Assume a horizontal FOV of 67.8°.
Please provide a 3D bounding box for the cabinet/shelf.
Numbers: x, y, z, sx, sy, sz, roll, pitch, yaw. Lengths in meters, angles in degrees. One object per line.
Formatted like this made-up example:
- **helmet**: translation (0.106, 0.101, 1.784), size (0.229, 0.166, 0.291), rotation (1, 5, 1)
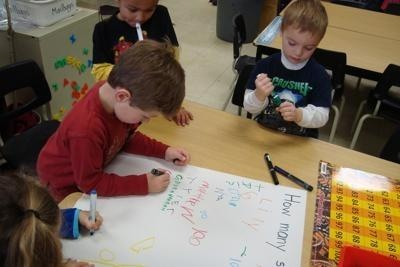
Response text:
- **cabinet/shelf**: translation (-1.148, -0.534, 2.218), size (0.251, 0.742, 0.778), rotation (17, 33, 19)

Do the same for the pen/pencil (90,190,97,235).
- **pen/pencil**: translation (-0.431, 0.325, 1.203), size (0.028, 0.270, 0.028), rotation (-6, 38, -28)

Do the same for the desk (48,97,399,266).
- **desk**: translation (0.258, 0.098, 1.565), size (1.037, 0.265, 0.689), rotation (23, 49, 18)

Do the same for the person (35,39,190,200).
- **person**: translation (-0.449, -0.065, 1.493), size (0.520, 0.905, 0.432), rotation (33, 38, -10)

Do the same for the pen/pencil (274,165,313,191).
- **pen/pencil**: translation (0.442, 0.219, 1.425), size (0.140, 0.021, 0.026), rotation (39, 89, 16)
